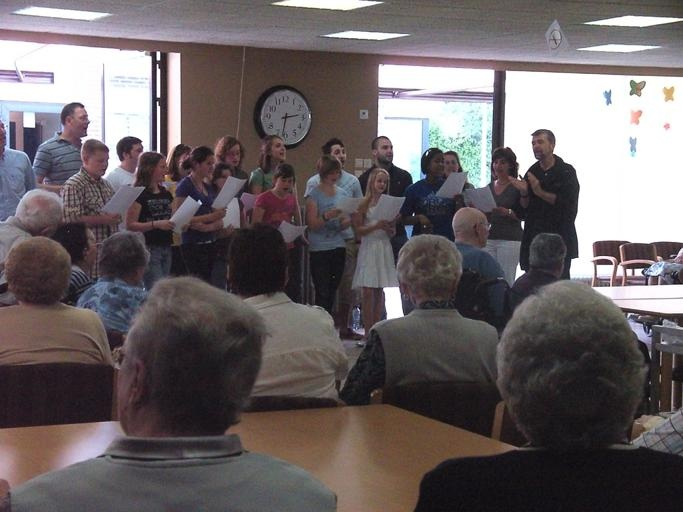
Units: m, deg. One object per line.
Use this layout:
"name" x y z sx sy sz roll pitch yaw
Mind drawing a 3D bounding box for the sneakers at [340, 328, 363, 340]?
"sneakers" 0.088 0.751 6.267 0.157 0.066 0.100 6 3 27

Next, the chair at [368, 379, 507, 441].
"chair" 0.330 0.483 2.189 0.227 0.187 0.218 -1 7 -27
